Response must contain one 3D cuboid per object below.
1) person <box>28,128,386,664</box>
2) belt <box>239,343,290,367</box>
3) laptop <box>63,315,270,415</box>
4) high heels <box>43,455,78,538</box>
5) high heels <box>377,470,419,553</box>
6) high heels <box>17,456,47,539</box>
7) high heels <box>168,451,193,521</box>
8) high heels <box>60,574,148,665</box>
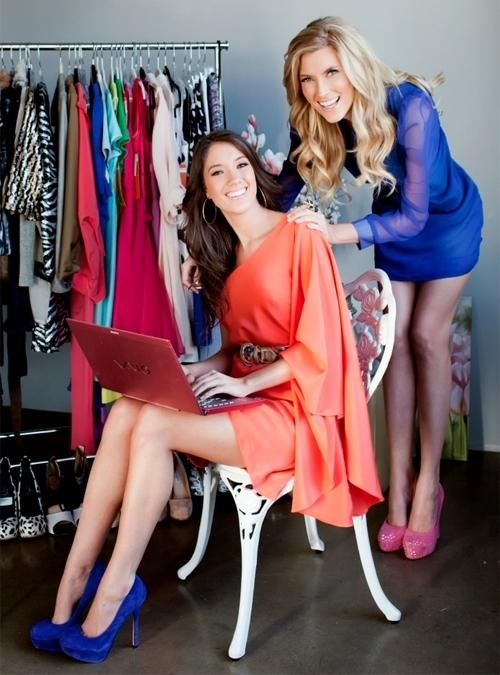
[{"bbox_3d":[-0.223,0.088,1.822,1.155,1.635,0.741,2,-2,-28],"label":"person"},{"bbox_3d":[0.025,0.034,1.368,0.079,0.045,0.059,-2,4,-21],"label":"belt"},{"bbox_3d":[-0.208,0.051,1.169,0.265,0.175,0.254,9,16,44],"label":"laptop"},{"bbox_3d":[-0.661,0.568,2.077,0.086,0.119,0.296,-9,38,-8],"label":"high heels"},{"bbox_3d":[0.465,0.523,1.835,0.071,0.276,0.085,1,2,-34],"label":"high heels"},{"bbox_3d":[-0.735,0.540,1.983,0.080,0.264,0.096,-3,-19,-13],"label":"high heels"},{"bbox_3d":[-0.238,0.512,2.073,0.072,0.257,0.105,-5,-12,4],"label":"high heels"},{"bbox_3d":[-0.303,0.600,1.291,0.200,0.187,0.106,1,2,-31],"label":"high heels"}]
